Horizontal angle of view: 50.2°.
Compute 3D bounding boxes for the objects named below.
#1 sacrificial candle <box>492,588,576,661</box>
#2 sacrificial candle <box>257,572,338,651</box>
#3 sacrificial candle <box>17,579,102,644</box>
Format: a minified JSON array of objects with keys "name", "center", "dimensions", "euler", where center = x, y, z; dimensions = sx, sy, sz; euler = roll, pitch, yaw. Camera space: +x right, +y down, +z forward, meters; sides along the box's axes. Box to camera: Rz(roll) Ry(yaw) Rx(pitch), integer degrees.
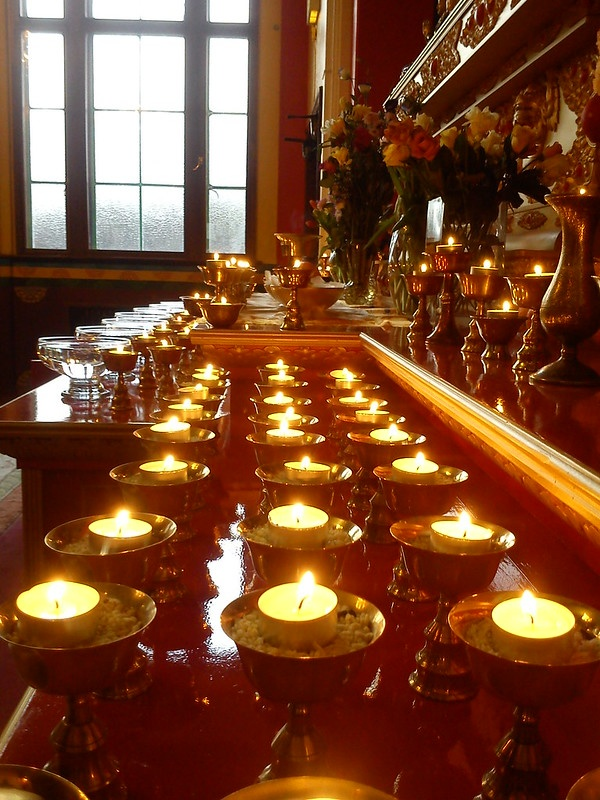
[{"name":"sacrificial candle","center":[0.146,0.143,0.399],"dimensions":[0.047,0.017,0.044],"euler":[-12,16,-13]},{"name":"sacrificial candle","center":[0.001,0.129,0.411],"dimensions":[0.053,0.035,0.049],"euler":[-2,24,30]},{"name":"sacrificial candle","center":[-0.173,0.149,0.458],"dimensions":[0.056,0.024,0.085],"euler":[-9,14,-21]}]
